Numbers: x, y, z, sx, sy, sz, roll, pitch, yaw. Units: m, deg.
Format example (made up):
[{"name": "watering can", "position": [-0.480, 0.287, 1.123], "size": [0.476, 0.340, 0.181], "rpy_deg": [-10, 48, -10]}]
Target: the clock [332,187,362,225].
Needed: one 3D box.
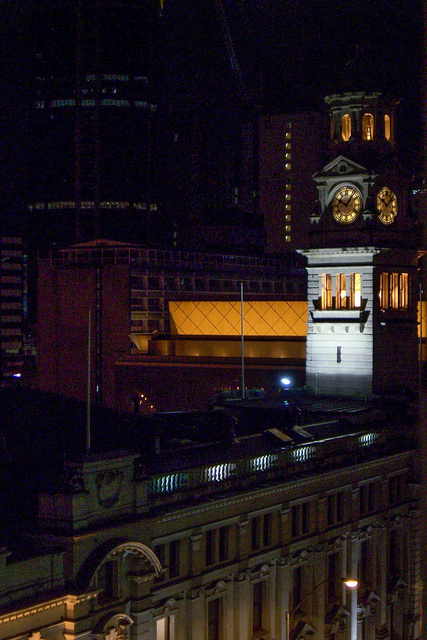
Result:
[{"name": "clock", "position": [7.061, -5.997, 61.629], "size": [0.126, 1.868, 1.659], "rpy_deg": [1, 7, -37]}]

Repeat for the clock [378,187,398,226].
[{"name": "clock", "position": [9.059, -5.968, 61.497], "size": [0.110, 1.972, 1.825], "rpy_deg": [-9, 1, 28]}]
